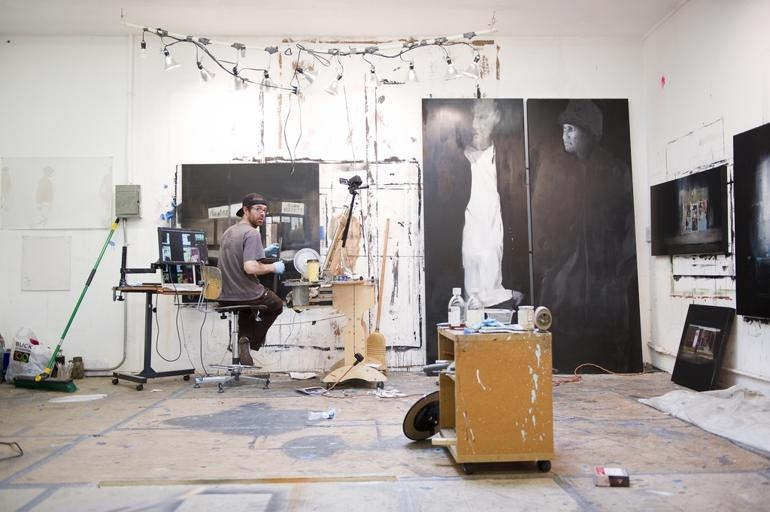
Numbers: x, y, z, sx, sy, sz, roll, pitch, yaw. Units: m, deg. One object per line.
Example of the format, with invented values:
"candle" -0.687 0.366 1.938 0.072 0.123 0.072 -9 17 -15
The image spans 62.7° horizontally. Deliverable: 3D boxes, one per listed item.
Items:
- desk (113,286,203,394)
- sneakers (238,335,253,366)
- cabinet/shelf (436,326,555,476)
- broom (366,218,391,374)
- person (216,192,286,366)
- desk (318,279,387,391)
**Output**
"desk" -2.821 0.969 7.765 0.803 1.451 0.897 4 -1 -39
"sneakers" -1.651 1.127 7.473 0.129 0.360 0.137 -5 -10 -14
"cabinet/shelf" 0.933 1.296 6.090 0.958 1.209 1.344 0 -1 -11
"broom" -0.075 0.532 7.920 0.227 1.799 0.311 0 3 -4
"person" -1.630 0.317 7.641 0.844 2.050 0.967 2 -1 -20
"desk" -0.265 0.923 7.806 0.958 1.158 1.056 -1 -4 6
